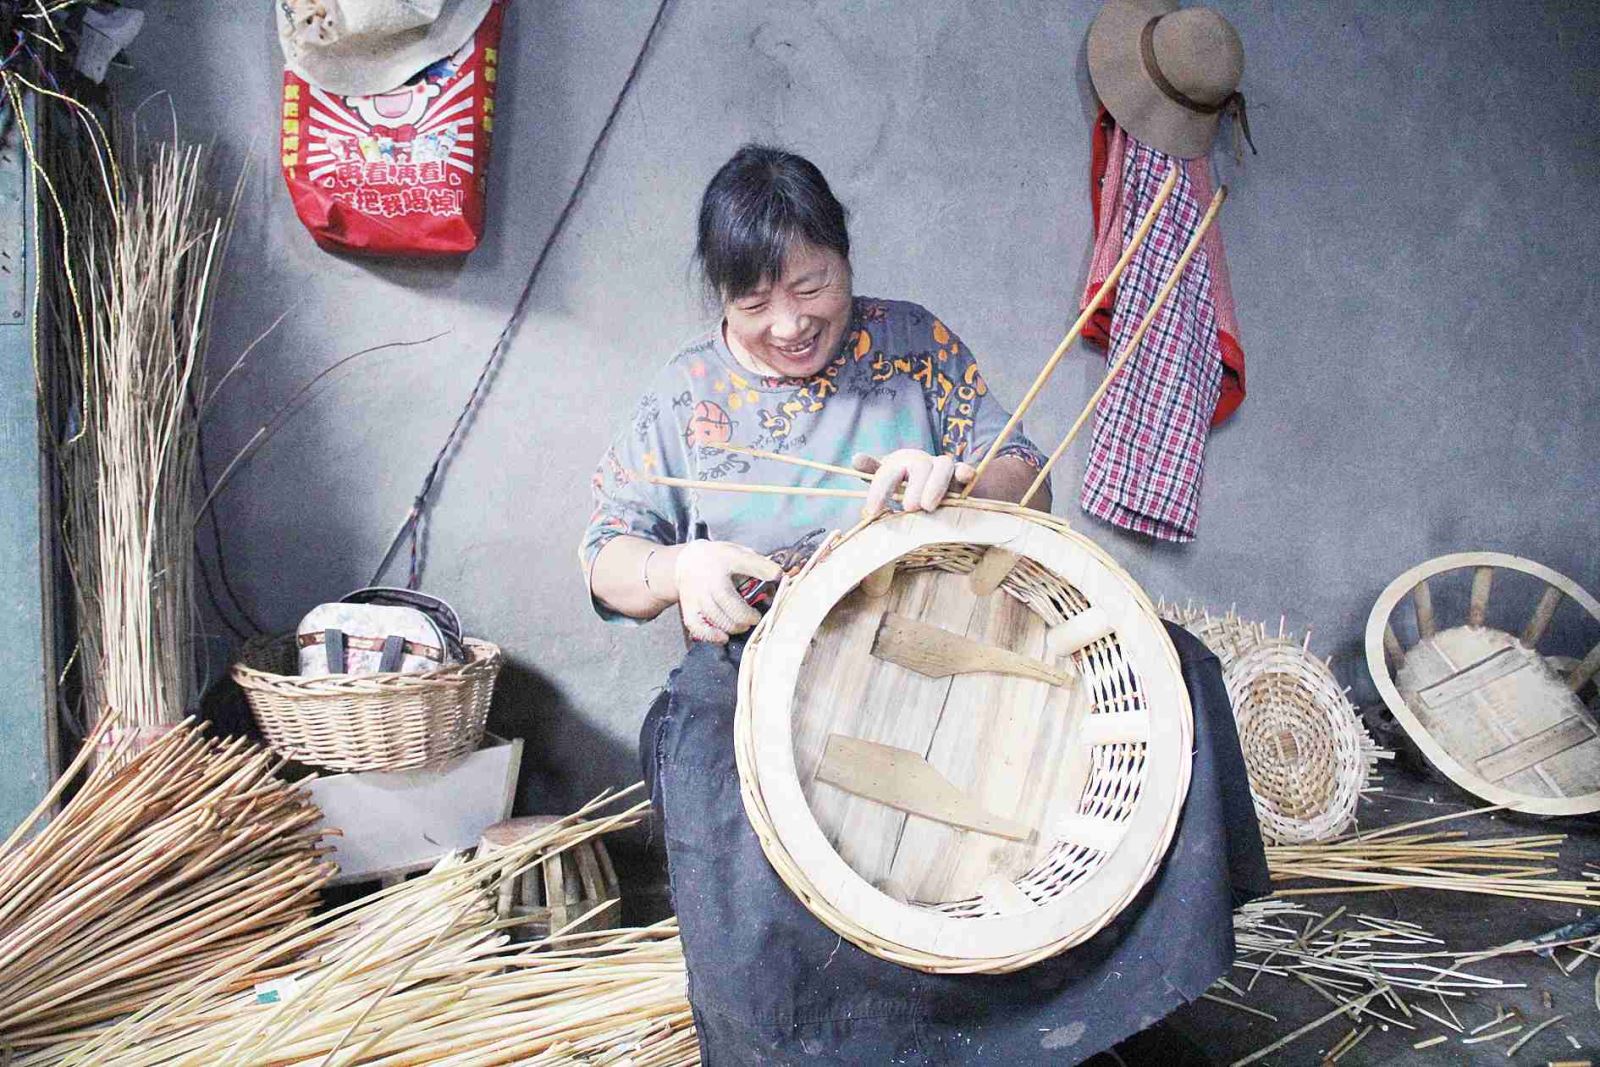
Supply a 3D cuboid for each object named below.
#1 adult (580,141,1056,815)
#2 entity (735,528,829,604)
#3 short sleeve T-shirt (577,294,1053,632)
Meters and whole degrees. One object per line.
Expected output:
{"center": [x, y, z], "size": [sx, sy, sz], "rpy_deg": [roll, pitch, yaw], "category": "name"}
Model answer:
{"center": [0.042, 0.101, 5.327], "size": [1.271, 2.219, 1.208], "rpy_deg": [-10, 20, -10], "category": "adult"}
{"center": [-0.054, 0.082, 5.212], "size": [0.266, 0.153, 0.099], "rpy_deg": [-35, 16, -12], "category": "entity"}
{"center": [0.018, -0.283, 5.608], "size": [1.481, 1.293, 0.846], "rpy_deg": [-2, 5, 0], "category": "short sleeve T-shirt"}
